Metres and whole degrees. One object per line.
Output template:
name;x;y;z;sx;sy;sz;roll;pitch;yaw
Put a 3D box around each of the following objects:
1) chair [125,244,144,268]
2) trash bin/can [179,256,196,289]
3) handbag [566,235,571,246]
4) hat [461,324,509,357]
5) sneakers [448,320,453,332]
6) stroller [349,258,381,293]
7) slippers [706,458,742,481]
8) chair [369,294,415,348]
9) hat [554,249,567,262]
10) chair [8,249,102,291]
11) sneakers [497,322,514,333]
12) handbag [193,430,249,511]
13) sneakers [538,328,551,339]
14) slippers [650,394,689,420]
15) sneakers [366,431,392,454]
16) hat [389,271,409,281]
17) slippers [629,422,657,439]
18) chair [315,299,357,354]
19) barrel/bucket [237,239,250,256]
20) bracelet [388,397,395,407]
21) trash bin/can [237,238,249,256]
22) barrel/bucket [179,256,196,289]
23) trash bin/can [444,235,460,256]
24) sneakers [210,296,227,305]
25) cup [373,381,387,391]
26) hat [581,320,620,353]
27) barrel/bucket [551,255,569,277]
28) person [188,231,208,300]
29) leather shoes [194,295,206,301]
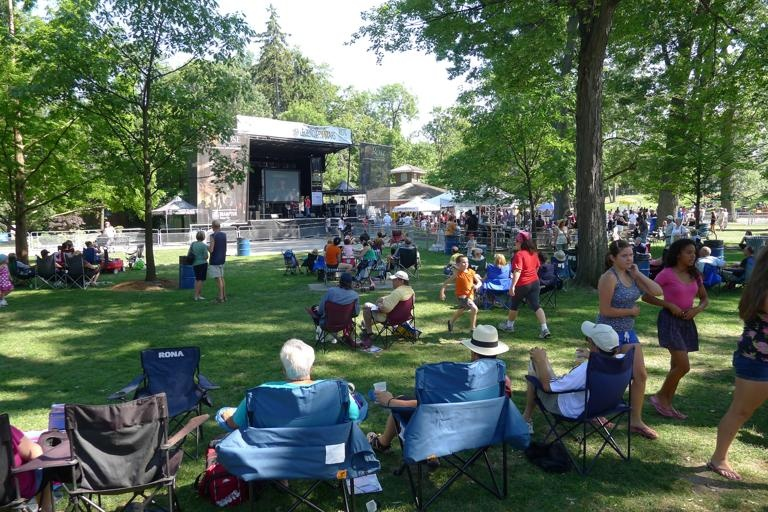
chair;-10.178;-0.006;28.626;0.583;0.895;1.090;1;4;-21
trash bin/can;-6.324;0.542;22.896;0.639;1.046;0.612;9;-6;-39
handbag;8.063;-0.705;30.839;0.182;0.382;1.018;3;4;16
hat;1.976;1.542;13.231;0.679;0.269;0.581;-1;11;-38
sneakers;1.580;1.692;17.169;0.110;0.275;0.091;2;-4;10
stroller;-0.673;0.628;22.112;0.727;1.187;1.036;1;-7;-7
slippers;6.204;3.899;12.872;0.463;0.187;0.269;5;1;23
chair;0.204;1.512;16.418;0.868;1.260;0.948;3;-14;-5
hat;5.032;-0.030;20.413;0.284;0.181;0.388;-11;22;-3
chair;-11.029;0.410;23.358;2.673;1.245;0.911;3;4;8
sneakers;2.953;1.720;17.261;0.195;0.245;0.382;0;10;-21
handbag;-3.000;3.969;12.720;0.910;0.463;1.253;-9;39;-9
sneakers;3.794;1.843;16.812;0.147;0.175;0.349;-13;-7;-8
slippers;5.567;3.010;14.010;0.810;0.330;0.280;33;0;37
sneakers;-0.125;3.535;13.328;0.257;0.245;0.529;-5;19;-32
hat;0.324;0.451;16.397;0.335;0.160;0.240;5;-2;11
slippers;4.975;3.340;13.532;0.370;0.156;0.226;9;4;12
chair;-1.115;1.508;16.408;1.064;1.301;1.086;3;16;6
barrel/bucket;-6.546;-0.437;32.629;0.578;0.763;0.753;1;4;-16
bracelet;0.132;2.671;12.892;0.131;0.180;0.098;1;-1;0
trash bin/can;-6.531;-0.408;32.726;0.677;0.751;0.696;0;-1;6
barrel/bucket;-6.475;0.523;22.852;0.561;1.010;0.628;0;0;27
trash bin/can;2.861;-0.483;30.334;0.559;0.839;0.921;2;4;4
sneakers;-4.842;1.277;20.365;0.419;0.199;0.219;3;-1;-2
cup;-0.082;2.457;13.310;0.260;0.201;0.232;-2;4;-20
hat;4.008;1.422;13.239;0.453;0.281;0.686;-17;41;-32
barrel/bucket;5.174;0.338;20.800;0.550;0.806;0.276;4;1;-17
person;-5.495;0.363;20.608;0.522;1.835;0.949;0;4;-22
leather shoes;-5.463;1.222;20.744;0.131;0.176;0.401;2;8;15
